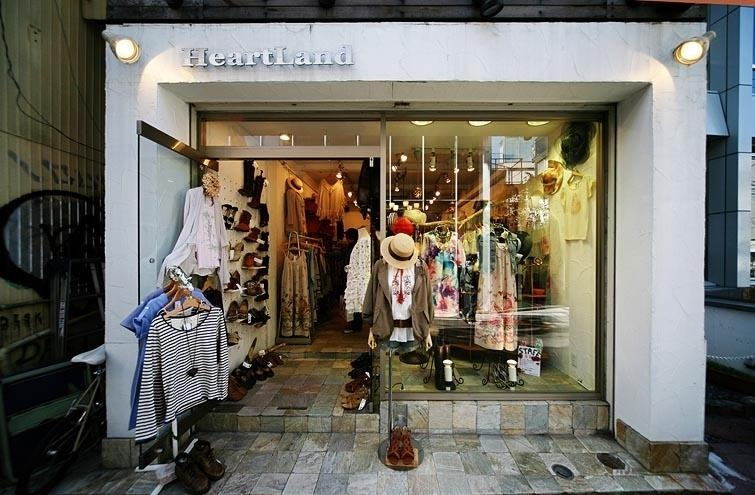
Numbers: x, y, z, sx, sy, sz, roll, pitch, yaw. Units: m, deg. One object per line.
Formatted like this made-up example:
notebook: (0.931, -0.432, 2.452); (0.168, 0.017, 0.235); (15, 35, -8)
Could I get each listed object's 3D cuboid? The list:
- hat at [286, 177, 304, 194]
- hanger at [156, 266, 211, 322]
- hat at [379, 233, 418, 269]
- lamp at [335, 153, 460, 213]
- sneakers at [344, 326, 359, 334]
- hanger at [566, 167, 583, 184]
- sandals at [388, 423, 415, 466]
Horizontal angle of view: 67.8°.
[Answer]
hat: (-1.368, -1.049, 9.418); (0.197, 0.294, 0.612); (-2, -3, 10)
hanger: (-2.243, 0.520, 6.393); (0.534, 0.296, 0.735); (-1, 7, -21)
hat: (0.248, 0.044, 6.562); (0.390, 0.416, 0.136); (-31, -18, -22)
lamp: (0.340, -0.839, 7.333); (1.299, 0.788, 0.597); (-1, -4, 7)
sneakers: (-0.452, 1.389, 9.554); (0.230, 0.105, 0.095); (1, 4, -7)
hanger: (2.562, -0.955, 7.275); (0.184, 0.188, 0.042); (-2, -4, 20)
sandals: (0.274, 2.323, 6.657); (0.234, 0.137, 0.421); (-1, 21, -1)
